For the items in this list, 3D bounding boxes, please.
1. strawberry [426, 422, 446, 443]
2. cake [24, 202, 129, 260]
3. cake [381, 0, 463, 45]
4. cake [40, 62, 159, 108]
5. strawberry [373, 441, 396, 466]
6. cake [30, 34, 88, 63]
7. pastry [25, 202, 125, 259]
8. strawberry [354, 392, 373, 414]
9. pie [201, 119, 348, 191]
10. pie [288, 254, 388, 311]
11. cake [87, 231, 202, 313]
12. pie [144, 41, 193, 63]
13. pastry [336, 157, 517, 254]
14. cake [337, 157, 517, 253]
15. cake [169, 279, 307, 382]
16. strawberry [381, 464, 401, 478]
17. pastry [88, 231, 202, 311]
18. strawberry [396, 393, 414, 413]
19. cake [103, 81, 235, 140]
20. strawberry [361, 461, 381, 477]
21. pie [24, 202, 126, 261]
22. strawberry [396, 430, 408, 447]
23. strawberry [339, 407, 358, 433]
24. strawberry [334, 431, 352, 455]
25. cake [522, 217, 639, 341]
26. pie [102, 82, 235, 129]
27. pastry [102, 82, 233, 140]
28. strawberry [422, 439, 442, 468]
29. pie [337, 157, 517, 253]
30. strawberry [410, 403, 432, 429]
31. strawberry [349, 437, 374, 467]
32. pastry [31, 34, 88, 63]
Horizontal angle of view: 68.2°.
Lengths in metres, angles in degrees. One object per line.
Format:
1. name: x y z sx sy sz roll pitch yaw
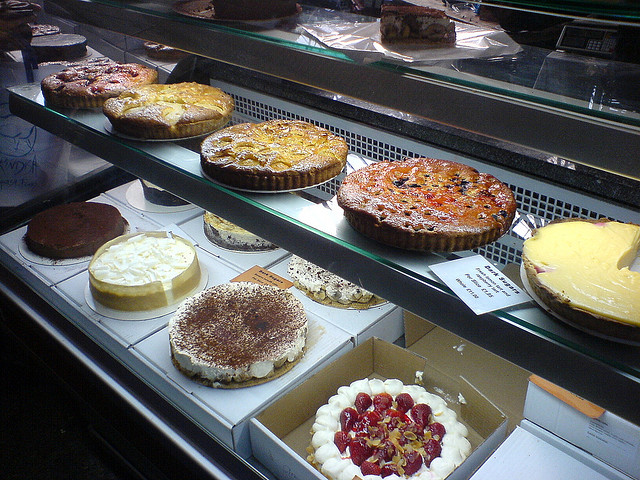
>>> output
1. strawberry: 0.396 0.655 1.623 0.067 0.037 0.051 40 84 9
2. cake: -1.284 -0.073 2.461 0.437 0.077 0.376 -10 49 -16
3. cake: 0.258 -0.552 1.200 0.212 0.084 0.118 5 38 1
4. cake: -0.907 -0.662 1.961 0.330 0.067 0.321 22 35 30
5. strawberry: 0.213 0.706 1.579 0.071 0.028 0.068 -2 37 -9
6. cake: -1.332 -0.957 2.373 0.283 0.055 0.249 -11 34 -18
7. pastry: -1.236 -0.067 2.418 0.388 0.069 0.354 18 38 24
8. strawberry: 0.153 0.590 1.723 0.066 0.040 0.060 0 68 5
9. pie: -0.161 -0.285 1.521 0.441 0.075 0.439 -18 41 -28
10. pie: 0.058 0.204 2.046 0.330 0.061 0.295 12 30 13
11. cake: -0.804 0.140 2.181 0.456 0.176 0.426 -11 39 -20
12. pie: -0.721 -0.860 2.181 0.314 0.073 0.041 24 44 26
13. pastry: 0.282 -0.082 1.280 0.427 0.079 0.418 14 26 22
14. cake: 0.289 -0.109 1.288 0.467 0.078 0.395 -15 39 -24
15. cake: -0.336 0.355 1.922 0.553 0.131 0.478 3 36 -2
16. strawberry: 0.227 0.749 1.542 0.059 0.019 0.036 1 37 -4
17. pastry: -0.815 0.133 2.182 0.536 0.149 0.440 4 32 1
18. strawberry: 0.303 0.585 1.712 0.060 0.035 0.064 1 42 15
19. cake: -0.560 -0.518 1.807 0.464 0.111 0.457 12 35 12
20. strawberry: 0.165 0.744 1.547 0.063 0.022 0.044 -1 37 -7
21. pie: -1.268 -0.045 2.443 0.443 0.383 0.084 3 37 -39
22. strawberry: 0.279 0.672 1.611 0.035 0.013 0.053 3 36 -1
23. strawberry: 0.102 0.633 1.680 0.036 0.065 0.063 18 80 -22
24. strawberry: 0.070 0.693 1.614 0.056 0.036 0.056 3 75 5
25. cake: 0.540 0.084 1.053 0.277 0.060 0.258 16 39 26
26. pie: -0.520 -0.492 1.721 0.310 0.064 0.311 24 35 35
27. pastry: -0.564 -0.493 1.772 0.438 0.101 0.407 -16 41 -26
28. strawberry: 0.370 0.706 1.576 0.047 0.063 0.072 13 81 30
29. pie: 0.276 -0.105 1.233 0.350 0.059 0.308 -17 33 -26
30. strawberry: 0.357 0.620 1.663 0.072 0.033 0.069 1 53 -2
31. strawberry: 0.130 0.706 1.584 0.053 0.075 0.069 19 5 38
32. pastry: -1.337 -0.965 2.391 0.294 0.062 0.295 26 41 36
